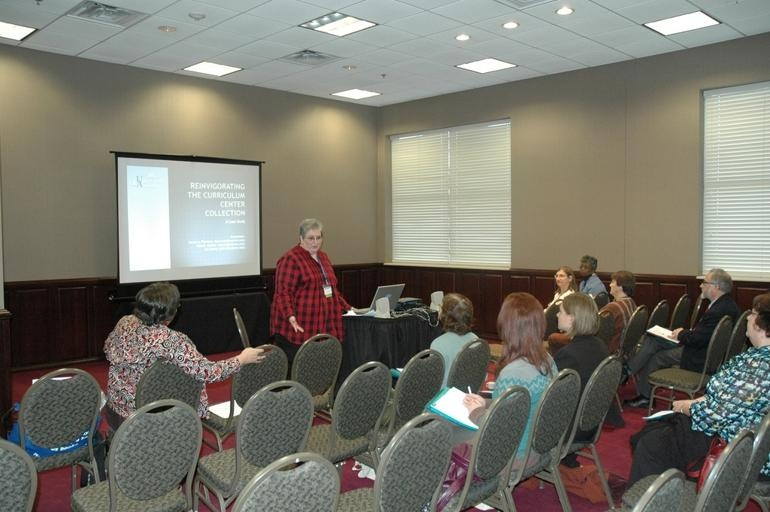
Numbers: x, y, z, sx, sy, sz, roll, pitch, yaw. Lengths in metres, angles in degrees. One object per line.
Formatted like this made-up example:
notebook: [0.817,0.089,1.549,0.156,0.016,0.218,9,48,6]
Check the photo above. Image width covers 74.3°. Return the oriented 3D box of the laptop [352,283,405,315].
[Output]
laptop: [-0.067,0.450,5.863,0.412,0.285,0.471,0,-1,33]

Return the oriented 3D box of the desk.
desk: [0.033,1.061,6.030,0.669,0.716,1.099,-14,4,-38]

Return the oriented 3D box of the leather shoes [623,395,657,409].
leather shoes: [2.918,1.652,5.805,0.348,0.149,0.129,3,-2,23]

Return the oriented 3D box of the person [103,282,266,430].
person: [-1.891,0.874,4.672,0.942,1.112,0.640,31,39,13]

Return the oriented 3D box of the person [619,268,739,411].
person: [3.399,0.969,5.785,0.726,1.655,1.005,0,10,-43]
